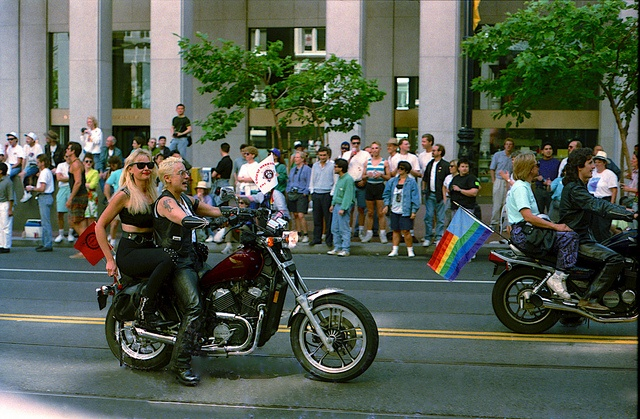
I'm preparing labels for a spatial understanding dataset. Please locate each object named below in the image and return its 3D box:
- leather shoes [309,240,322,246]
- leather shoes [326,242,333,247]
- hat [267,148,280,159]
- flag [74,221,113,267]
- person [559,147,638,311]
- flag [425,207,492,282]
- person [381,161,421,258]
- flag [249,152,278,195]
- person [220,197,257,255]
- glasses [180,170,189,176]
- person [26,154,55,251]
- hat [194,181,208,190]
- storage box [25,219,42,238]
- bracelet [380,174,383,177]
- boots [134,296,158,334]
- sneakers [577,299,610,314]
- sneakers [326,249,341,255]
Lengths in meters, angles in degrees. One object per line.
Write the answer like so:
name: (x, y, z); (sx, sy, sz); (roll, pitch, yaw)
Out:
leather shoes: (-0.160, 0.940, 29.956); (0.409, 0.153, 0.122); (-4, 0, -6)
leather shoes: (0.246, 0.966, 29.849); (0.153, 0.167, 0.400); (3, -1, -8)
hat: (-1.317, -1.682, 30.627); (0.465, 0.230, 0.301); (19, -5, -16)
flag: (-4.953, 0.771, 23.078); (0.977, 0.757, 0.098); (-33, -12, 25)
person: (5.721, 0.394, 22.249); (1.427, 3.350, 0.861); (4, 9, 31)
flag: (3.274, 0.858, 25.193); (1.260, 1.547, 0.170); (37, 7, 21)
person: (2.196, -0.034, 28.706); (0.630, 2.641, 0.932); (-6, 9, -37)
flag: (-1.405, -0.870, 25.984); (0.097, 0.905, 1.297); (-27, 5, 25)
person: (-2.153, 0.501, 28.327); (1.187, 1.172, 1.818); (0, -6, -10)
glasses: (-2.711, -0.736, 20.960); (0.147, 0.044, 0.147); (3, -9, -42)
person: (-7.981, -0.229, 30.393); (0.668, 2.721, 1.025); (-3, 8, -15)
hat: (-3.291, -0.680, 28.995); (0.265, 0.127, 0.270); (4, 2, 38)
storage box: (-8.768, 0.556, 32.139); (0.535, 0.500, 0.542); (-3, -4, 37)
bracelet: (1.729, -1.002, 29.897); (0.074, 0.023, 0.072); (-5, -31, 2)
boots: (-3.403, 2.046, 20.691); (0.485, 0.649, 0.284); (11, 2, 2)
sneakers: (5.666, 2.001, 21.971); (0.610, 0.248, 0.220); (0, -2, 2)
sneakers: (0.348, 1.159, 29.346); (0.301, 0.122, 0.127); (1, 0, 2)
